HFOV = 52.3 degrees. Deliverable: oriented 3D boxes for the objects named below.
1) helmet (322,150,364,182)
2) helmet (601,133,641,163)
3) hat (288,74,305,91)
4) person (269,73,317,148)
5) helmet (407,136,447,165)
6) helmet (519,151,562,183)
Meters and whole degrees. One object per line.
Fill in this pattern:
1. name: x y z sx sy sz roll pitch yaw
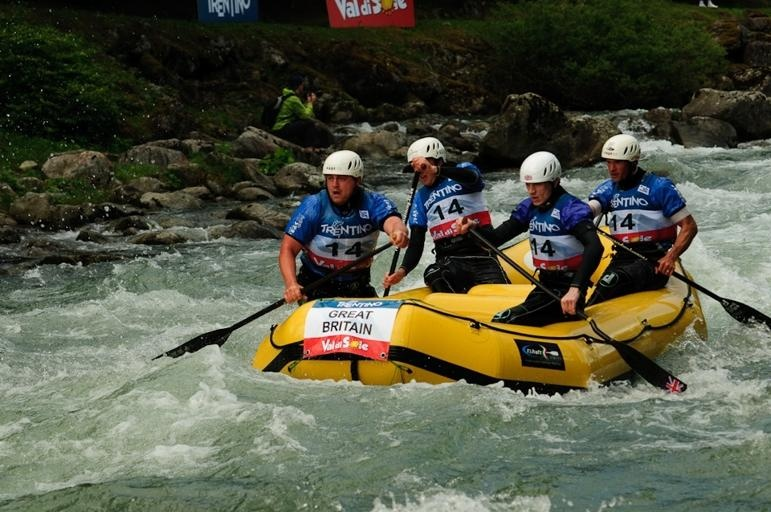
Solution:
1. helmet: -0.506 -1.121 9.676 0.352 0.256 0.467 6 10 32
2. helmet: 3.180 -1.456 10.553 0.527 0.266 0.348 -9 15 -36
3. hat: -2.487 -4.744 21.696 0.363 0.378 0.713 -5 16 -11
4. person: -2.630 -3.996 22.061 1.211 2.010 1.161 -4 18 -7
5. helmet: 0.503 -1.379 10.333 0.482 0.294 0.326 -15 18 -26
6. helmet: 1.929 -1.056 9.585 0.373 0.272 0.500 -2 2 39
